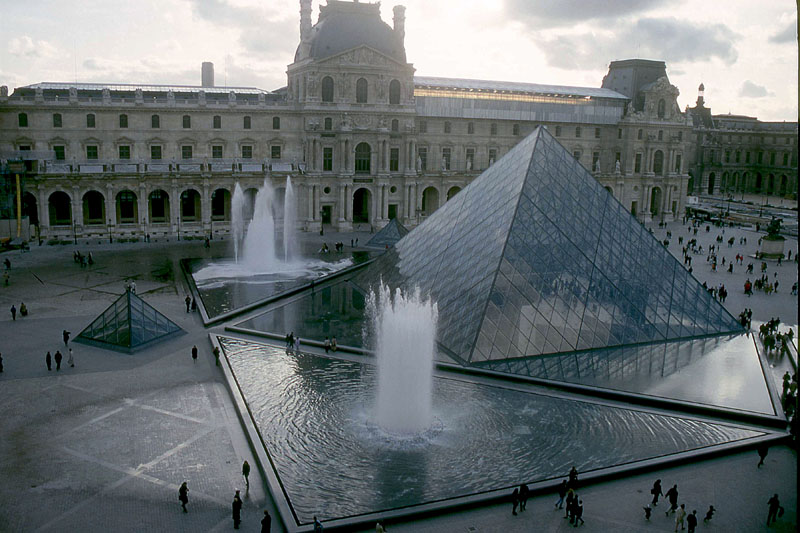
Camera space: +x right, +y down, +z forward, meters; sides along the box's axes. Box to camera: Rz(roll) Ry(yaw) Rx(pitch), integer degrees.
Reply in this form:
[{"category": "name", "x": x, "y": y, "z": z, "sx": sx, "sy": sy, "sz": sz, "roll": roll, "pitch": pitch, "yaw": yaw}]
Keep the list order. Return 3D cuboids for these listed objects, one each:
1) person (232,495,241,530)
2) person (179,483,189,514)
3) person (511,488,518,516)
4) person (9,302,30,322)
[{"category": "person", "x": -5.771, "y": 8.554, "z": 25.941, "sx": 0.321, "sy": 1.108, "sz": 0.744, "roll": -2, "pitch": 14, "yaw": -12}, {"category": "person", "x": -7.782, "y": 8.170, "z": 26.494, "sx": 0.331, "sy": 1.002, "sz": 0.824, "roll": -3, "pitch": 15, "yaw": -16}, {"category": "person", "x": 4.210, "y": 8.463, "z": 26.559, "sx": 0.236, "sy": 0.783, "sz": 0.531, "roll": 3, "pitch": 14, "yaw": 10}, {"category": "person", "x": -21.355, "y": 2.587, "z": 41.263, "sx": 0.880, "sy": 0.888, "sz": 0.329, "roll": 0, "pitch": -7, "yaw": -26}]
